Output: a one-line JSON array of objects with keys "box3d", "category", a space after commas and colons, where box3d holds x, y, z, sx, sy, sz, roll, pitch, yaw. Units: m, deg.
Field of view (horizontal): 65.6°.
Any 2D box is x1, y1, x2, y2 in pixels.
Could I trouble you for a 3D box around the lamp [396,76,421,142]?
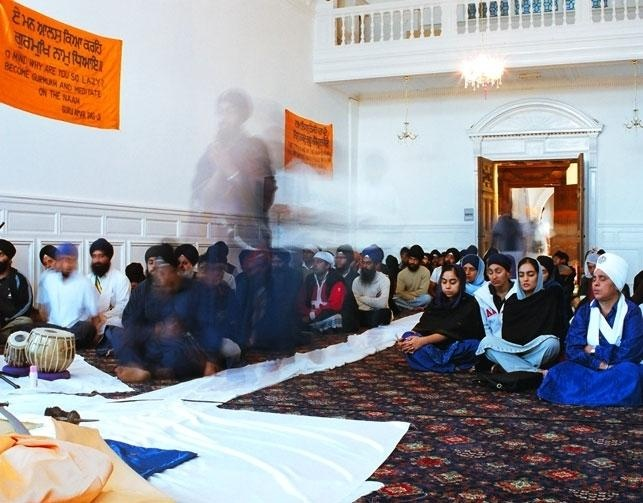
[{"box3d": [1.507, -2.491, 8.865, 0.358, 0.925, 0.844, 1, -1, 12], "category": "lamp"}]
